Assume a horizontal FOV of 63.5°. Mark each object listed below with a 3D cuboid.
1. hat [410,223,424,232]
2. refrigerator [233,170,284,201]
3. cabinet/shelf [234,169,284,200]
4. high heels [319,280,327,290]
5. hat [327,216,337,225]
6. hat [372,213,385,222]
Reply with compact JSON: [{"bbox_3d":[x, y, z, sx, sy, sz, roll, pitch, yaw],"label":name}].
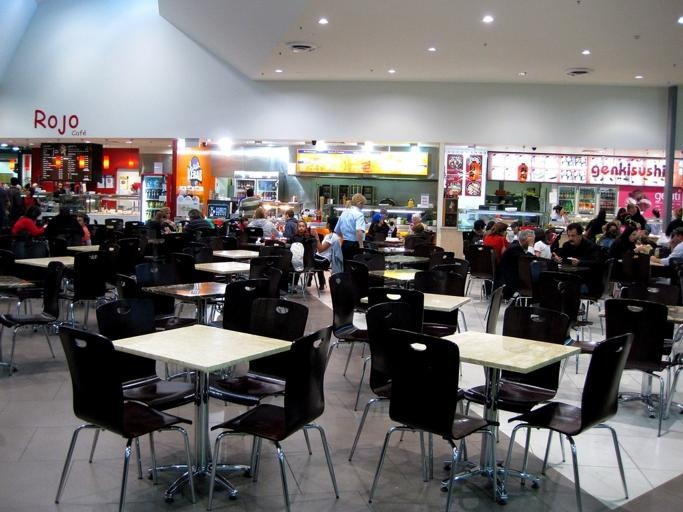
[{"bbox_3d":[1.532,-0.553,11.007,0.193,0.184,0.191,12,9,17],"label":"hat"},{"bbox_3d":[-2.081,-1.788,14.112,0.933,0.821,0.326,-1,-3,10],"label":"refrigerator"},{"bbox_3d":[-2.080,-1.816,14.137,0.933,0.822,0.326,-1,-3,10],"label":"cabinet/shelf"},{"bbox_3d":[-0.306,0.509,9.502,0.069,0.125,0.134,6,14,17],"label":"high heels"},{"bbox_3d":[-0.143,-0.607,9.407,0.130,0.155,0.164,0,14,-10],"label":"hat"},{"bbox_3d":[0.809,-0.828,12.102,0.191,0.177,0.253,18,-20,-42],"label":"hat"}]
